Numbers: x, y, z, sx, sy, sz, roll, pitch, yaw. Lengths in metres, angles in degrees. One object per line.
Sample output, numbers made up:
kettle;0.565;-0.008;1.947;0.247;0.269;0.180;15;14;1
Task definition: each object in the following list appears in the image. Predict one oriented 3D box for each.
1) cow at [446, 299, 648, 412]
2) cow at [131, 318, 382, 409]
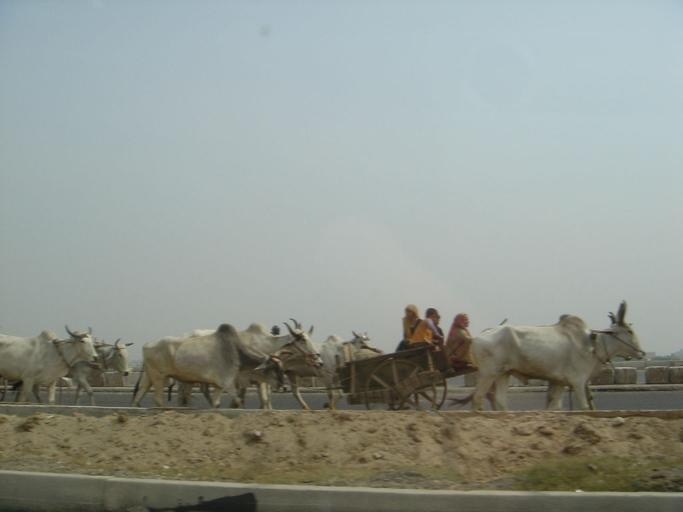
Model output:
cow;3.892;1.866;18.768;2.959;1.979;1.324;-3;-11;11
cow;-2.126;2.257;20.682;3.915;1.734;2.195;0;-10;-8
